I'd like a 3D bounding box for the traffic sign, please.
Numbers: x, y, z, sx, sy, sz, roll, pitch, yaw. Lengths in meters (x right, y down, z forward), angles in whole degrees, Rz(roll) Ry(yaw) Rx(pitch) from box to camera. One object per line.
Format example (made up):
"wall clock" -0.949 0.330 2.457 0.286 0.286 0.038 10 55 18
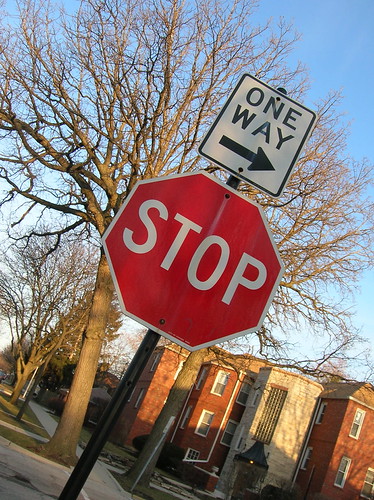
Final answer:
"traffic sign" 0.316 -0.516 1.886 0.398 0.498 0.036 26 -19 -5
